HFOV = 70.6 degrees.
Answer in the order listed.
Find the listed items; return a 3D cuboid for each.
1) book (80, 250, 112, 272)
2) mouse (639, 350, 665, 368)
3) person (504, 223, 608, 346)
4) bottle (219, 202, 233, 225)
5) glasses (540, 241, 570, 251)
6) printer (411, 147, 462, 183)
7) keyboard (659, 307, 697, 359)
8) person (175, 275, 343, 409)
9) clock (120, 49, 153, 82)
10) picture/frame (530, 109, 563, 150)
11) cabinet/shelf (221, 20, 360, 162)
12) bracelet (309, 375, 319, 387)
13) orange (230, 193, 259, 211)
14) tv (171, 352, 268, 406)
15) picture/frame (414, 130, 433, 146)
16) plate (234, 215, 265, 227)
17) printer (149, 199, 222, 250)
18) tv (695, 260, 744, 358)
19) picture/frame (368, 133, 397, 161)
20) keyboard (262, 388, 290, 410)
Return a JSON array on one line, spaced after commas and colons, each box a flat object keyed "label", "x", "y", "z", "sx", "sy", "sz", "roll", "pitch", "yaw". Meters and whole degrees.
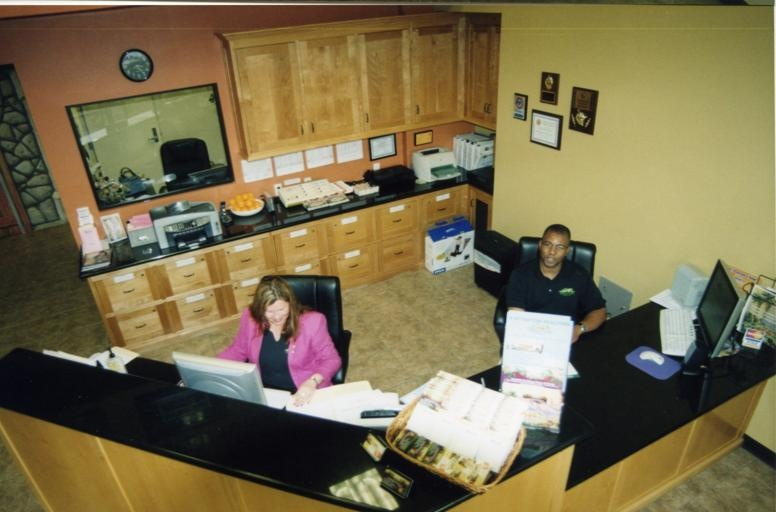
[{"label": "book", "x": -2.687, "y": 0.030, "z": 5.028, "sx": 0.246, "sy": 0.085, "sz": 0.324, "roll": -12, "pitch": 23, "yaw": -19}, {"label": "mouse", "x": 1.809, "y": 0.681, "z": 3.745, "sx": 0.153, "sy": 0.045, "sz": 0.105, "roll": 6, "pitch": 24, "yaw": 26}, {"label": "person", "x": 1.307, "y": 0.146, "z": 4.228, "sx": 0.788, "sy": 0.800, "sz": 0.656, "roll": 9, "pitch": 26, "yaw": 31}, {"label": "bottle", "x": -1.646, "y": -0.428, "z": 5.525, "sx": 0.116, "sy": 0.152, "sz": 0.212, "roll": -16, "pitch": 63, "yaw": -17}, {"label": "glasses", "x": 1.244, "y": -0.087, "z": 4.125, "sx": 0.190, "sy": 0.074, "sz": 0.070, "roll": 4, "pitch": 24, "yaw": 21}, {"label": "printer", "x": 0.543, "y": -1.009, "z": 6.126, "sx": 0.464, "sy": 0.266, "sz": 0.436, "roll": -16, "pitch": 33, "yaw": -21}, {"label": "keyboard", "x": 2.071, "y": 0.562, "z": 3.932, "sx": 0.269, "sy": 0.079, "sz": 0.472, "roll": 11, "pitch": 44, "yaw": 15}, {"label": "person", "x": -0.763, "y": 0.517, "z": 3.962, "sx": 0.904, "sy": 1.025, "sz": 0.859, "roll": 2, "pitch": 21, "yaw": 2}, {"label": "clock", "x": -2.284, "y": -1.719, "z": 4.962, "sx": 0.273, "sy": 0.285, "sz": 0.053, "roll": -18, "pitch": 26, "yaw": -27}, {"label": "picture/frame", "x": 1.490, "y": -1.198, "z": 5.125, "sx": 0.025, "sy": 0.323, "sz": 0.325, "roll": -19, "pitch": 43, "yaw": -30}, {"label": "cabinet/shelf", "x": -0.972, "y": -1.618, "z": 5.204, "sx": 1.209, "sy": 0.947, "sz": 0.405, "roll": -14, "pitch": 33, "yaw": -19}, {"label": "bracelet", "x": -0.498, "y": 0.819, "z": 3.637, "sx": 0.042, "sy": 0.042, "sz": 0.051, "roll": 2, "pitch": -4, "yaw": 3}, {"label": "orange", "x": -1.459, "y": -0.558, "z": 5.593, "sx": 0.232, "sy": 0.118, "sz": 0.220, "roll": -2, "pitch": 15, "yaw": -15}, {"label": "tv", "x": -0.995, "y": 0.707, "z": 3.173, "sx": 0.527, "sy": 0.308, "sz": 0.094, "roll": 3, "pitch": 25, "yaw": 19}, {"label": "picture/frame", "x": 0.388, "y": -1.353, "z": 6.228, "sx": 0.187, "sy": 0.123, "sz": 0.023, "roll": -12, "pitch": 33, "yaw": -19}, {"label": "plate", "x": -1.397, "y": -0.362, "z": 5.483, "sx": 0.188, "sy": 0.047, "sz": 0.179, "roll": 0, "pitch": 20, "yaw": 0}, {"label": "printer", "x": -1.953, "y": -0.248, "z": 5.306, "sx": 0.690, "sy": 0.442, "sz": 0.448, "roll": -16, "pitch": 38, "yaw": -24}, {"label": "tv", "x": 2.242, "y": 0.373, "z": 3.692, "sx": 0.172, "sy": 0.483, "sz": 0.492, "roll": 13, "pitch": 63, "yaw": 15}, {"label": "picture/frame", "x": -0.084, "y": -1.223, "z": 6.077, "sx": 0.301, "sy": 0.199, "sz": 0.030, "roll": -13, "pitch": 26, "yaw": -24}, {"label": "keyboard", "x": -0.729, "y": 0.919, "z": 3.587, "sx": 0.209, "sy": 0.046, "sz": 0.199, "roll": 7, "pitch": 27, "yaw": 6}]
